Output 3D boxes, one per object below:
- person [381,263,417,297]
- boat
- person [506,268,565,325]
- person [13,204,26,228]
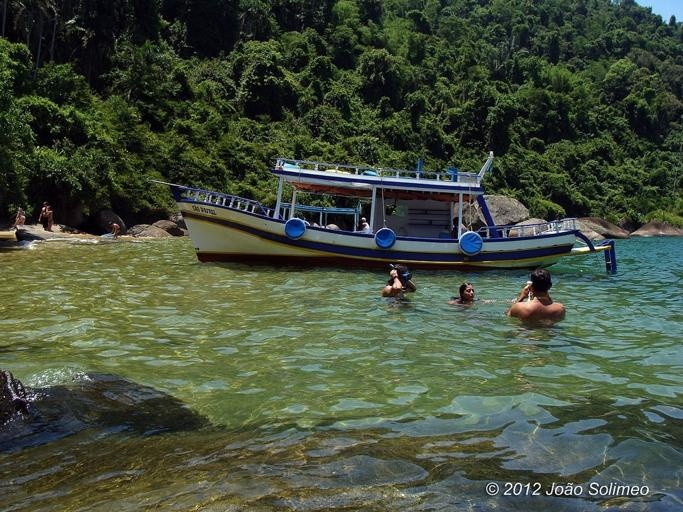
[{"bbox_3d":[1.482,0.632,12.751,0.658,0.822,0.947,6,7,27],"label":"person"},{"bbox_3d":[0.782,-2.170,22.971,14.650,4.457,10.579,1,6,-7],"label":"boat"},{"bbox_3d":[4.088,0.839,10.380,1.289,0.912,1.272,6,8,36],"label":"person"},{"bbox_3d":[-17.402,-2.172,26.993,0.424,1.148,2.701,-1,6,-30],"label":"person"}]
